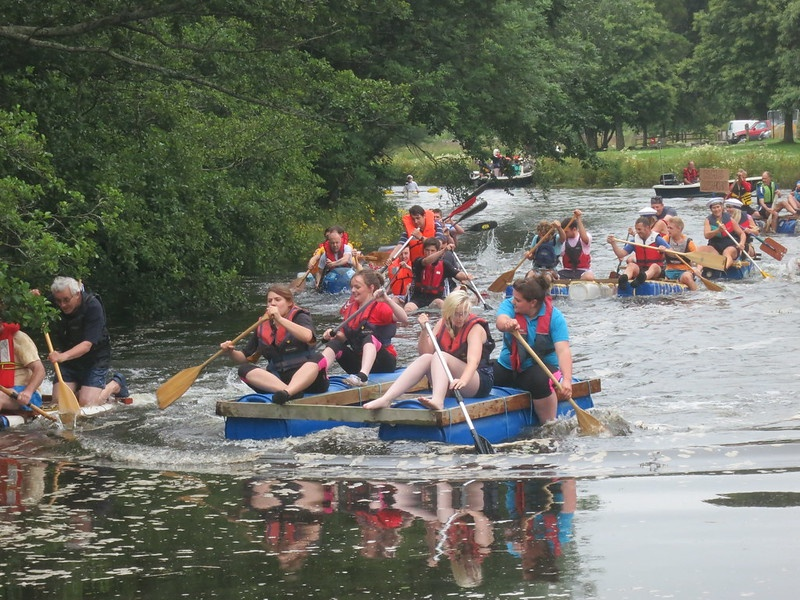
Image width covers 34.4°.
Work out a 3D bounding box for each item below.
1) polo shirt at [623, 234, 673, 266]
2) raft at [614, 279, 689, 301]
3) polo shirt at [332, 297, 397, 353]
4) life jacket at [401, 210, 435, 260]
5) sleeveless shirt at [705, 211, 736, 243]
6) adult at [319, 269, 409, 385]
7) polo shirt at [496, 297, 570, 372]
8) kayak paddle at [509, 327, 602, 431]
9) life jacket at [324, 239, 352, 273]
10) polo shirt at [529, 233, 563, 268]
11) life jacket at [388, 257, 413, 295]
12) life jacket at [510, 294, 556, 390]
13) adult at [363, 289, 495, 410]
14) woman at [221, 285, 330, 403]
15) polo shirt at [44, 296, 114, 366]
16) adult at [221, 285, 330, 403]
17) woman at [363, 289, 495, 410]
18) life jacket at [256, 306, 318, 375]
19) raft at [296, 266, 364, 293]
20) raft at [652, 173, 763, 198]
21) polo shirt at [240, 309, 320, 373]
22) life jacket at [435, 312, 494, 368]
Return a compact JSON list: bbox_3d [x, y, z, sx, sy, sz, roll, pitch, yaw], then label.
[{"bbox_3d":[4.432,-0.751,23.316,1.040,0.677,0.493,-2,-3,17],"label":"polo shirt"},{"bbox_3d":[4.523,-0.192,22.869,1.362,0.303,0.385,-7,8,-14],"label":"raft"},{"bbox_3d":[-0.424,0.384,16.292,0.925,0.882,0.519,-10,-6,41],"label":"polo shirt"},{"bbox_3d":[0.308,-1.164,22.368,0.543,0.890,0.338,3,-7,38],"label":"life jacket"},{"bbox_3d":[6.278,-1.409,25.302,0.649,0.766,0.452,-5,-7,3],"label":"sleeveless shirt"},{"bbox_3d":[-0.553,0.356,16.013,1.252,1.451,1.244,-1,-6,2],"label":"adult"},{"bbox_3d":[1.542,0.436,15.216,0.928,0.791,0.475,4,17,9],"label":"polo shirt"},{"bbox_3d":[1.815,1.000,15.364,0.282,1.537,0.125,-45,14,-3],"label":"kayak paddle"},{"bbox_3d":[-1.143,-0.801,23.080,0.463,0.542,0.250,14,-13,2],"label":"life jacket"},{"bbox_3d":[2.611,-0.852,23.330,0.504,0.674,0.391,3,-6,4],"label":"polo shirt"},{"bbox_3d":[-0.047,-0.384,22.156,0.453,0.584,0.622,-4,11,-16],"label":"life jacket"},{"bbox_3d":[1.541,0.450,15.042,0.669,0.853,0.317,0,6,19],"label":"life jacket"},{"bbox_3d":[0.464,0.593,14.880,1.048,1.343,1.683,1,4,34],"label":"adult"},{"bbox_3d":[-1.442,0.528,15.077,1.290,1.429,1.560,-6,2,-14],"label":"woman"},{"bbox_3d":[-3.996,0.426,16.386,0.735,0.878,0.532,11,19,37],"label":"polo shirt"},{"bbox_3d":[-1.435,0.530,15.055,1.295,1.415,1.544,-6,3,-15],"label":"adult"},{"bbox_3d":[0.450,0.603,14.854,1.050,1.320,1.700,2,6,43],"label":"woman"},{"bbox_3d":[-1.337,0.501,15.182,0.684,0.820,0.493,-16,-5,17],"label":"life jacket"},{"bbox_3d":[-1.458,-0.337,23.309,1.019,0.394,0.560,3,-6,23],"label":"raft"},{"bbox_3d":[10.018,-3.658,42.781,4.514,1.134,1.451,1,9,6],"label":"raft"},{"bbox_3d":[-1.422,0.502,15.365,0.942,0.774,0.536,-14,-6,21],"label":"polo shirt"},{"bbox_3d":[0.723,0.491,14.938,0.600,0.532,0.322,8,12,32],"label":"life jacket"}]
